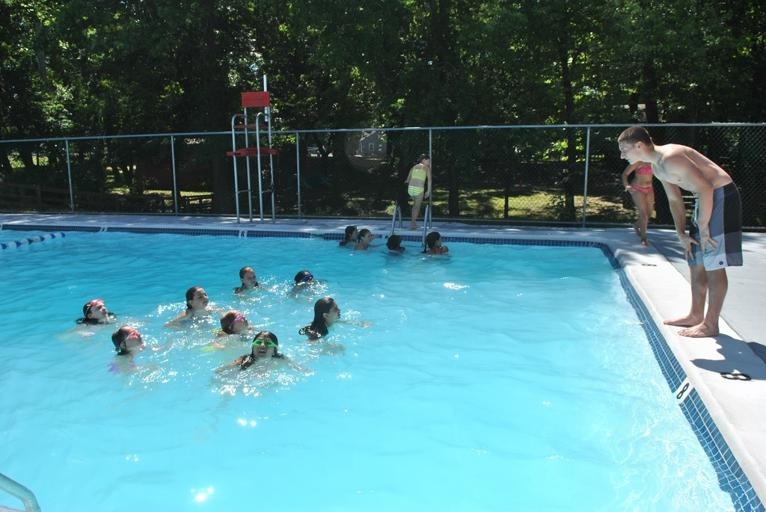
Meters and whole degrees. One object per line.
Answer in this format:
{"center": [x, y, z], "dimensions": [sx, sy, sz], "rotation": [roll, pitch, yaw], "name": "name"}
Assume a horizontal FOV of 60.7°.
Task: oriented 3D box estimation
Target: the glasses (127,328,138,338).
{"center": [-3.309, 1.016, 8.623], "dimensions": [0.095, 0.131, 0.119], "rotation": [9, 14, 2], "name": "glasses"}

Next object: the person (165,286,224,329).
{"center": [-2.842, 0.800, 9.820], "dimensions": [0.229, 0.717, 0.522], "rotation": [2, 6, 38], "name": "person"}

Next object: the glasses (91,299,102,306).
{"center": [-4.175, 0.679, 9.536], "dimensions": [0.132, 0.043, 0.143], "rotation": [8, 8, 44], "name": "glasses"}

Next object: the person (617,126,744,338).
{"center": [3.777, -0.293, 8.087], "dimensions": [1.197, 2.571, 0.632], "rotation": [3, 10, 26], "name": "person"}
